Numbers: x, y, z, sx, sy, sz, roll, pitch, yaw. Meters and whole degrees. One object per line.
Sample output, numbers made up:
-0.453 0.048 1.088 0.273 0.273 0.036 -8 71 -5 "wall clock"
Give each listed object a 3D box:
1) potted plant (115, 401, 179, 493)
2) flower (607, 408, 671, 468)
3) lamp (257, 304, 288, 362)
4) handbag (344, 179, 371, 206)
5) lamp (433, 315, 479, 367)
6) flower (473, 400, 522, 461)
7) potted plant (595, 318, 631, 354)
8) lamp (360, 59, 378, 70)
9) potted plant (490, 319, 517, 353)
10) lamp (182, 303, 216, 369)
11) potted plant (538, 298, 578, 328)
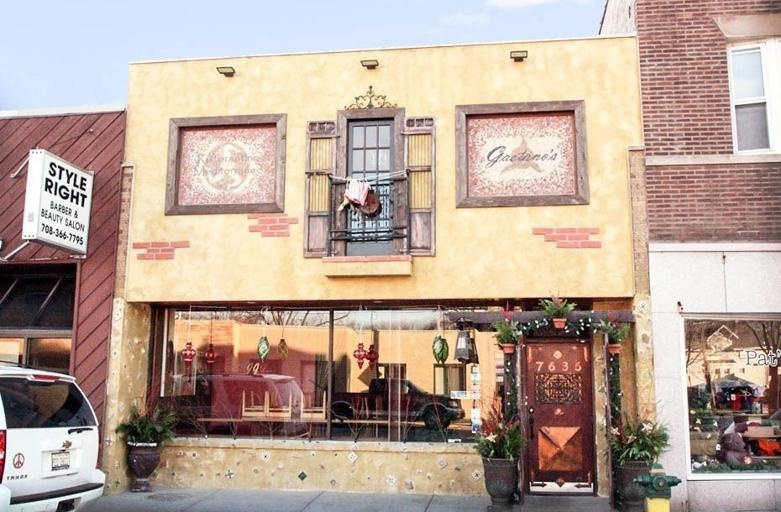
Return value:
-5.298 4.259 19.069 1.617 2.276 1.510 -1 -4 4 "potted plant"
4.940 3.629 16.993 0.957 0.729 0.929 2 -6 -19 "flower"
-2.643 1.781 19.196 0.651 1.185 0.272 0 -11 -3 "lamp"
-0.723 -1.377 18.194 0.507 0.546 0.190 11 -19 -6 "handbag"
1.366 1.745 18.269 1.009 1.142 0.878 -1 -11 5 "lamp"
2.086 3.580 17.552 1.062 1.186 0.923 6 3 2 "flower"
4.617 1.731 17.650 0.581 0.609 0.436 -6 -16 31 "potted plant"
-0.477 -4.211 18.671 0.373 0.166 0.212 -1 -12 5 "lamp"
2.356 1.666 17.813 0.597 0.763 0.681 2 -6 -37 "potted plant"
-4.392 1.928 19.466 0.820 1.433 0.250 1 -11 -4 "lamp"
3.488 1.161 17.554 0.615 0.693 0.719 2 -9 7 "potted plant"
